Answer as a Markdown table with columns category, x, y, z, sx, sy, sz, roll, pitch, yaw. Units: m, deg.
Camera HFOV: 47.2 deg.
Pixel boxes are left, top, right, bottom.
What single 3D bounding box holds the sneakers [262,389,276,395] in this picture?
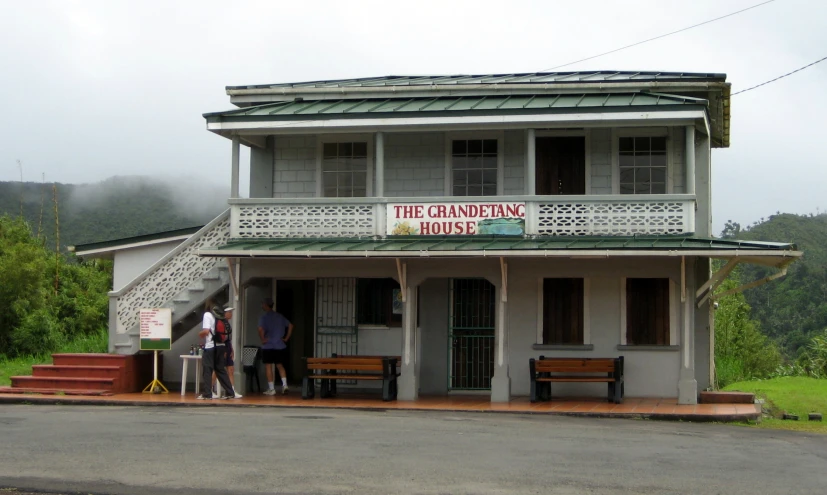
| category | x | y | z | sx | sy | sz | roll | pitch | yaw |
| --- | --- | --- | --- | --- | --- | --- | --- | --- | --- |
| sneakers | -4.196 | 4.143 | 27.168 | 0.369 | 0.150 | 0.137 | 0 | 0 | 33 |

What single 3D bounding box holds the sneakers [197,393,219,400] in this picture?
| category | x | y | z | sx | sy | sz | roll | pitch | yaw |
| --- | --- | --- | --- | --- | --- | --- | --- | --- | --- |
| sneakers | -5.709 | 4.122 | 26.122 | 0.595 | 0.238 | 0.211 | 3 | -6 | -1 |

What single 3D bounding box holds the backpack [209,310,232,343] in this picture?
| category | x | y | z | sx | sy | sz | roll | pitch | yaw |
| --- | --- | --- | --- | --- | --- | --- | --- | --- | --- |
| backpack | -5.346 | 2.177 | 26.080 | 0.272 | 0.925 | 0.576 | -1 | -5 | 19 |

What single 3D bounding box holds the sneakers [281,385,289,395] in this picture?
| category | x | y | z | sx | sy | sz | roll | pitch | yaw |
| --- | --- | --- | --- | --- | --- | --- | --- | --- | --- |
| sneakers | -3.758 | 4.121 | 27.309 | 0.275 | 0.272 | 0.637 | 0 | -1 | -5 |

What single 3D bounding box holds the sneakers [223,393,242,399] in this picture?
| category | x | y | z | sx | sy | sz | roll | pitch | yaw |
| --- | --- | --- | --- | --- | --- | --- | --- | --- | --- |
| sneakers | -5.104 | 4.106 | 26.302 | 0.547 | 0.217 | 0.191 | 0 | -5 | 4 |

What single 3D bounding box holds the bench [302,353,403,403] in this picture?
| category | x | y | z | sx | sy | sz | roll | pitch | yaw |
| --- | --- | --- | --- | --- | --- | --- | --- | --- | --- |
| bench | -1.629 | 3.659 | 26.731 | 2.606 | 1.188 | 2.108 | -1 | -5 | 16 |

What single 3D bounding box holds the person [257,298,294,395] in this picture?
| category | x | y | z | sx | sy | sz | roll | pitch | yaw |
| --- | --- | --- | --- | --- | --- | --- | --- | --- | --- |
| person | -4.049 | 2.840 | 27.141 | 0.911 | 2.698 | 0.608 | 3 | -6 | -21 |

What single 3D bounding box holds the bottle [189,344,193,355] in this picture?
| category | x | y | z | sx | sy | sz | roll | pitch | yaw |
| --- | --- | --- | --- | --- | --- | --- | --- | --- | --- |
| bottle | -6.312 | 2.886 | 26.792 | 0.086 | 0.250 | 0.335 | 2 | -5 | -15 |
